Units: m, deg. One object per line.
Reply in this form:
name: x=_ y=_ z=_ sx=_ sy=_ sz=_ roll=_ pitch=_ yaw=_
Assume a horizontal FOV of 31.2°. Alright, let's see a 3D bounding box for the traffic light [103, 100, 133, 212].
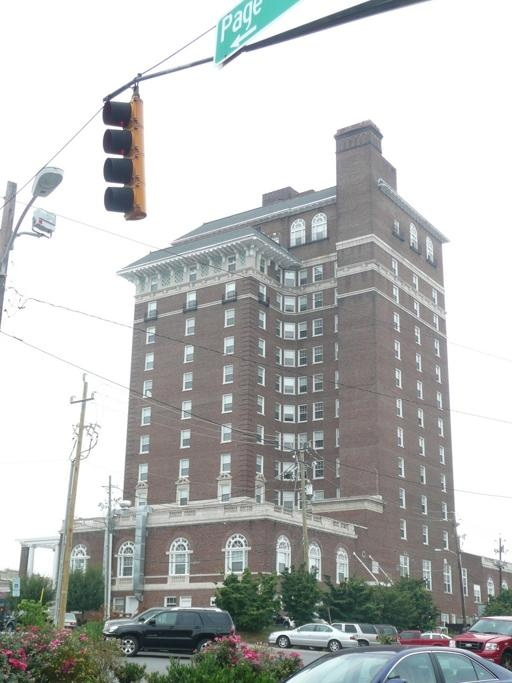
traffic light: x=-1.678 y=-2.314 z=11.133 sx=0.469 sy=1.420 sz=0.364 roll=8 pitch=-23 yaw=-16
